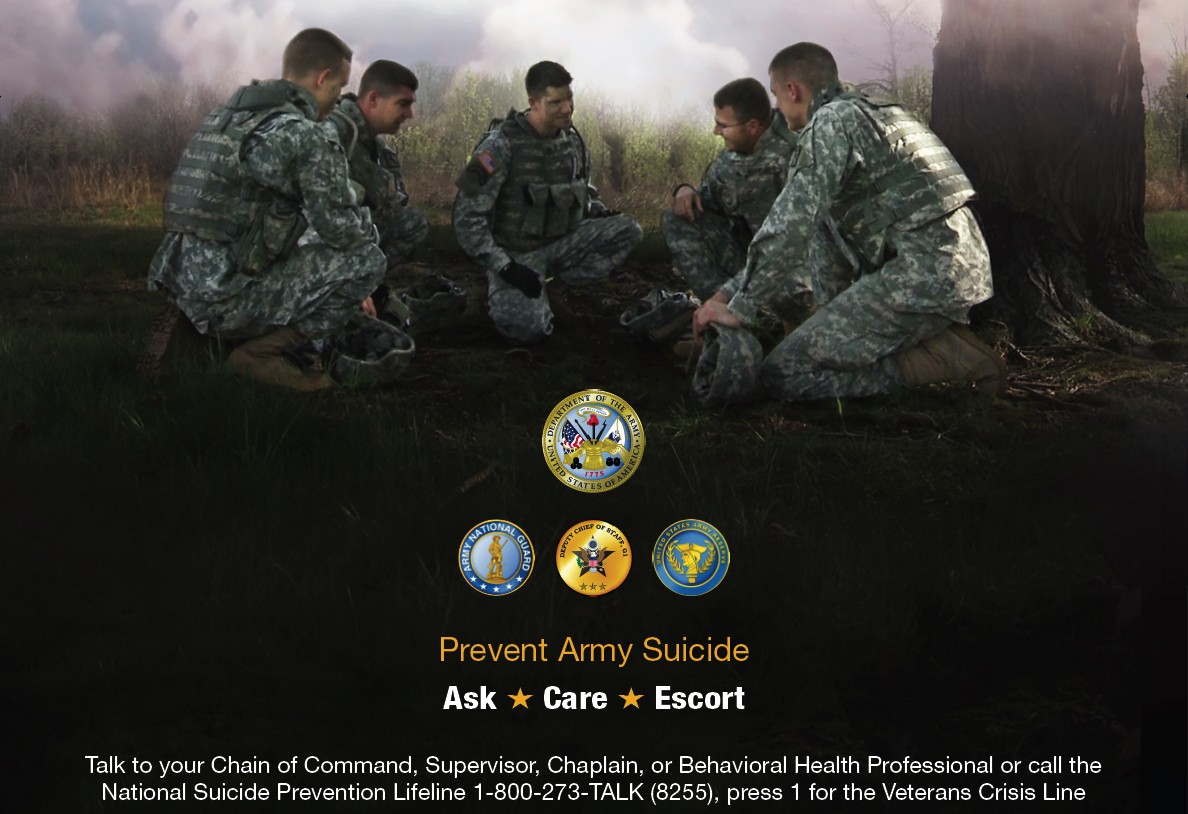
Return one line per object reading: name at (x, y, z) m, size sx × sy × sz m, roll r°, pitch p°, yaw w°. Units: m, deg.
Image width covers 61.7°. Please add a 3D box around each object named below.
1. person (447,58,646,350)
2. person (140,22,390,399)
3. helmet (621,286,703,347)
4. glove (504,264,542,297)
person at (-0.304, -1.304, 5.860) m, size 0.719 × 1.362 × 1.036 m, roll 30°, pitch 41°, yaw 28°
person at (-1.711, -1.076, 5.266) m, size 1.117 × 1.787 × 1.210 m, roll 1°, pitch 15°, yaw -44°
helmet at (0.355, -0.550, 5.961) m, size 0.275 × 0.638 × 0.231 m, roll 28°, pitch 65°, yaw -22°
glove at (-0.406, -0.736, 5.709) m, size 0.188 × 0.077 × 0.189 m, roll 30°, pitch 2°, yaw -30°
